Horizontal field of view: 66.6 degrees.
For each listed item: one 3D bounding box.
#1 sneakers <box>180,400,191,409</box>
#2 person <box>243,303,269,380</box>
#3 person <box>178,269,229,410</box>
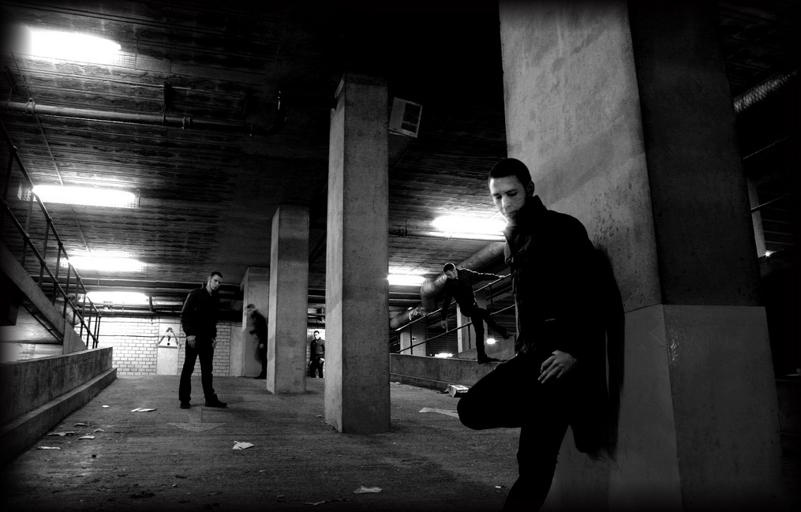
[{"bbox_3d":[-3.438,2.369,9.739,0.144,0.117,0.135,12,-25,-17],"label":"sneakers"},{"bbox_3d":[-4.648,2.830,19.554,0.966,0.939,2.378,2,29,-16],"label":"person"},{"bbox_3d":[-3.271,1.325,10.067,0.711,2.265,1.478,3,-6,-16],"label":"person"}]
